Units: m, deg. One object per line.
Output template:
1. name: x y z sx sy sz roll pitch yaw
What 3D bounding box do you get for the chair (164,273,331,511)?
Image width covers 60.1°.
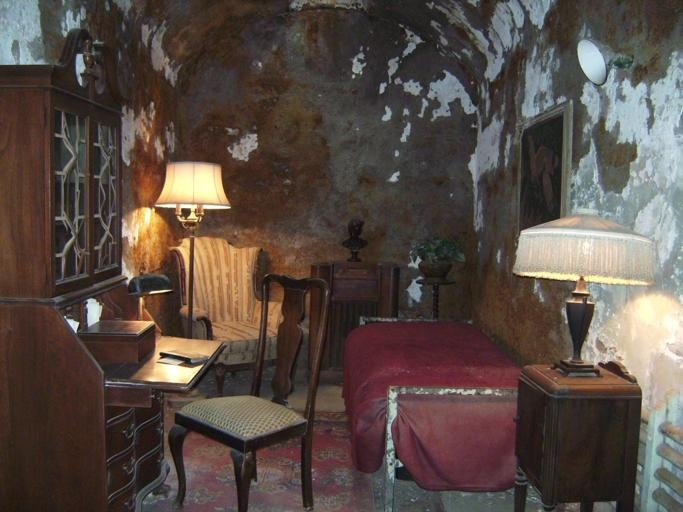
1. chair: -0.498 0.789 3.423 0.657 1.354 0.778 5 4 36

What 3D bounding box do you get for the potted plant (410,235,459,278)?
1. potted plant: 0.854 0.040 5.326 0.373 0.290 0.394 0 -5 8

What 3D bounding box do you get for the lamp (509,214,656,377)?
1. lamp: 1.139 0.169 3.005 0.665 0.783 0.695 2 2 15

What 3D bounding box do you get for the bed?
1. bed: 0.546 1.026 3.762 1.061 0.866 1.429 3 2 1
